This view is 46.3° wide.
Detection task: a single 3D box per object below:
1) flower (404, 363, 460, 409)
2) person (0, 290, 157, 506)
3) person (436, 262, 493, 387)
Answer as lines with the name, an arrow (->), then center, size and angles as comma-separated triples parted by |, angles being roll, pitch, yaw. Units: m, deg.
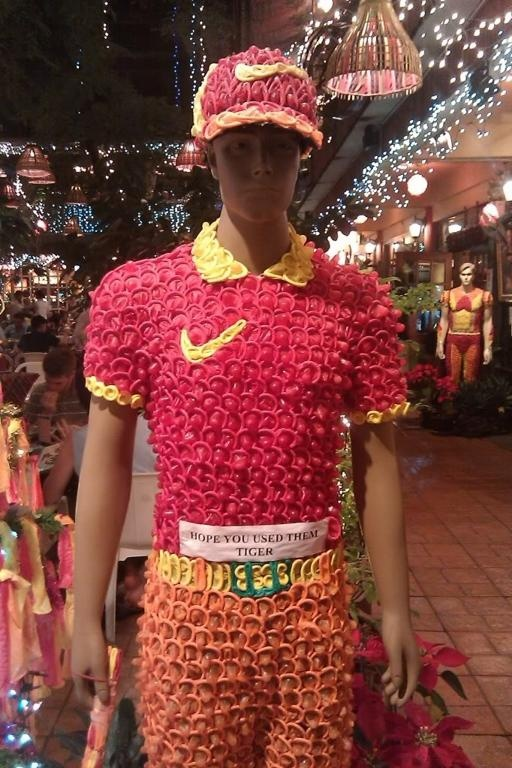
flower -> 1.222, 0.022, 4.139 | 0.277, 0.210, 0.251 | -15, 31, -9
person -> -0.504, 0.097, 2.578 | 0.894, 0.706, 0.633 | 2, 3, 1
person -> 1.752, -0.527, 5.000 | 0.431, 0.945, 0.788 | 1, 12, 21
